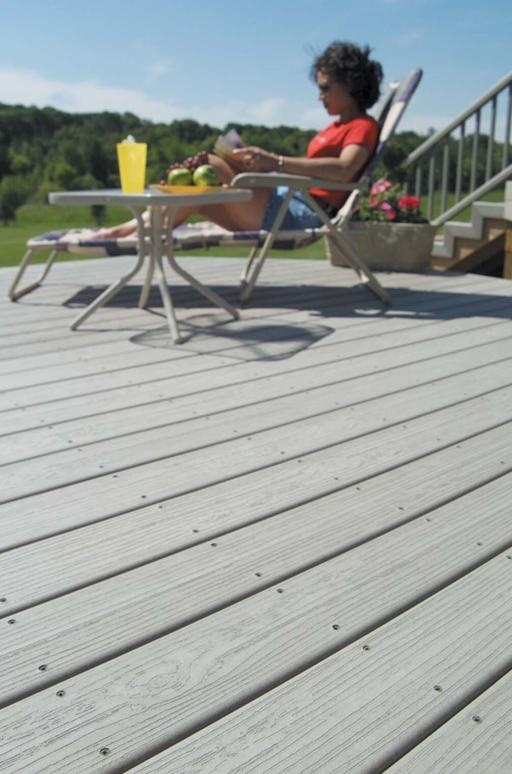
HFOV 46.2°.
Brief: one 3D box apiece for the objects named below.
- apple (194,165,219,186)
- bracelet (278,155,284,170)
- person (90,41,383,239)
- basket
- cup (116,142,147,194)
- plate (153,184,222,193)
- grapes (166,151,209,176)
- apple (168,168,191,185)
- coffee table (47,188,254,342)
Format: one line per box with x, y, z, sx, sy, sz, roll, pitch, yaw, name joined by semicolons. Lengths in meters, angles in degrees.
-0.182;-0.752;2.137;0.087;0.076;0.096;-1;16;-6;apple
0.095;-0.906;2.416;0.016;0.043;0.032;1;4;-31;bracelet
-0.092;-1.144;2.844;1.370;0.921;0.663;-2;20;-5;person
0.769;-0.776;3.671;0.546;0.238;0.453;1;-13;-7;basket
-0.438;-0.774;2.117;0.096;0.179;0.212;-3;16;-12;cup
-0.276;-0.720;2.176;0.329;0.035;0.152;13;20;36;plate
-0.254;-0.872;2.333;0.066;0.071;0.263;35;32;4;grapes
-0.278;-0.751;2.146;0.083;0.064;0.096;0;16;-2;apple
-0.370;-0.481;2.214;0.641;0.460;0.621;-8;22;-24;coffee table
